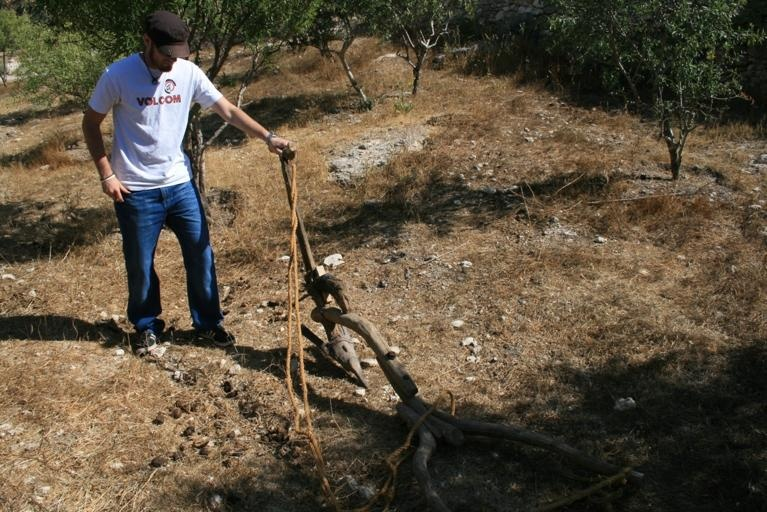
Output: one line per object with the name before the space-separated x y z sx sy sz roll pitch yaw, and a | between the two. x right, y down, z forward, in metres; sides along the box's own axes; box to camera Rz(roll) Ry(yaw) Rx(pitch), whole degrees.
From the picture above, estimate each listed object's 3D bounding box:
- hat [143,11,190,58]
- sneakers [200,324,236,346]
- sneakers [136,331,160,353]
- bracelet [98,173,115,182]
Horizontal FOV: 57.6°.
hat | -2.126 -2.165 6.876 0.401 0.454 0.235 -14 29 -17
sneakers | -1.852 0.896 7.881 0.411 0.209 0.192 8 30 4
sneakers | -2.581 0.940 7.602 0.144 0.162 0.330 -3 11 -11
bracelet | -2.813 -0.805 7.114 0.149 0.063 0.083 -11 29 -10
